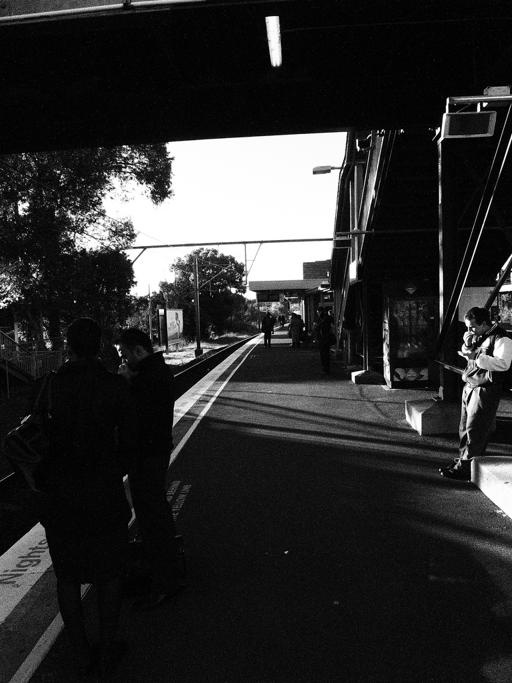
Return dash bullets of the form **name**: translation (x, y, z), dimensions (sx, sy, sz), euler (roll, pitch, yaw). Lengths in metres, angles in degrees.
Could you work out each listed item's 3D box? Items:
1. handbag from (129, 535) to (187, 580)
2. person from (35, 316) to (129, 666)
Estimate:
- **handbag**: translation (-0.573, 1.261, 3.719), dimensions (0.262, 0.288, 0.342), euler (0, -2, -3)
- **person**: translation (-0.777, 0.683, 2.880), dimensions (0.419, 1.560, 0.333), euler (-1, 1, -21)
